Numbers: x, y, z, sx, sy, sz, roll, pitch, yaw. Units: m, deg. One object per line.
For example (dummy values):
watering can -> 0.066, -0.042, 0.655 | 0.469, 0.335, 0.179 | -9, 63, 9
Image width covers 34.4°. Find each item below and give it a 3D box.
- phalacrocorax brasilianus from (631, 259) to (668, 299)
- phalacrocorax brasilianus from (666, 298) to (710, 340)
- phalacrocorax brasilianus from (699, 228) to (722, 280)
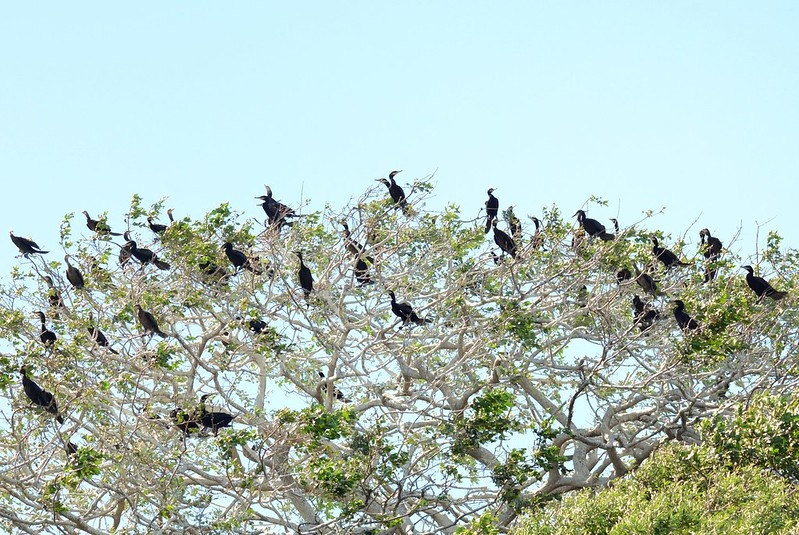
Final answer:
phalacrocorax brasilianus -> 5.211, 0.254, 27.005 | 0.734, 0.706, 0.267 | 17, -59, -39
phalacrocorax brasilianus -> 5.679, 1.063, 25.505 | 0.690, 0.775, 0.295 | 16, -49, 0
phalacrocorax brasilianus -> 5.864, -0.144, 24.324 | 0.450, 1.034, 0.306 | 9, 12, 22
